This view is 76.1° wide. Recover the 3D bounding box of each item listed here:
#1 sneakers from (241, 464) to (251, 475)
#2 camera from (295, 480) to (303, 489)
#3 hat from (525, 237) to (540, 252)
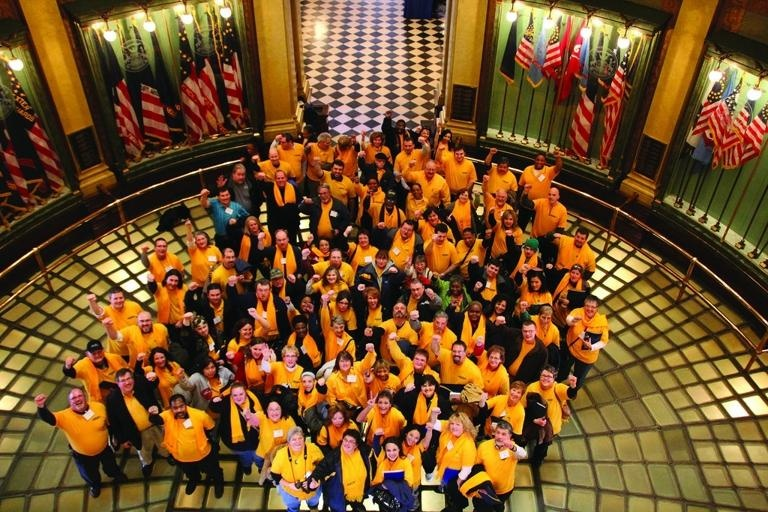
[{"bbox_3d":[-2.017,3.071,7.076,0.159,0.107,0.121,6,50,3],"label":"sneakers"},{"bbox_3d":[-1.059,2.812,6.062,0.065,0.032,0.099,9,87,0],"label":"camera"},{"bbox_3d":[2.472,-0.211,8.138,0.201,0.287,0.214,38,98,28],"label":"hat"}]
